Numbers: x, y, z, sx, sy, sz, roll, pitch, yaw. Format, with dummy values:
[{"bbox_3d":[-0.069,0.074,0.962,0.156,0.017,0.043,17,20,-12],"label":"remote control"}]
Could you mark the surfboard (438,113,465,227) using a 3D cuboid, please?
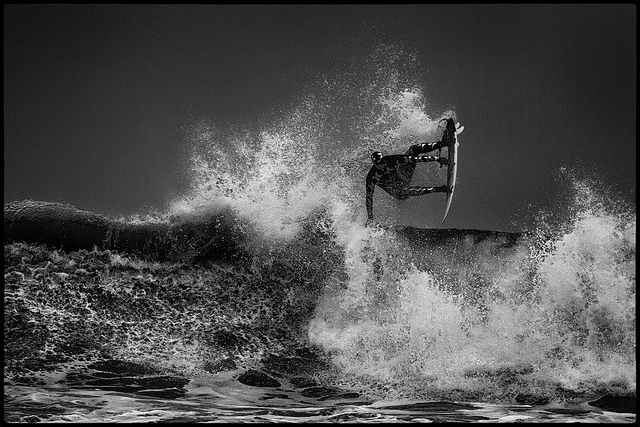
[{"bbox_3d":[1.837,-0.773,11.754,0.236,1.702,0.347,8,-3,-29],"label":"surfboard"}]
